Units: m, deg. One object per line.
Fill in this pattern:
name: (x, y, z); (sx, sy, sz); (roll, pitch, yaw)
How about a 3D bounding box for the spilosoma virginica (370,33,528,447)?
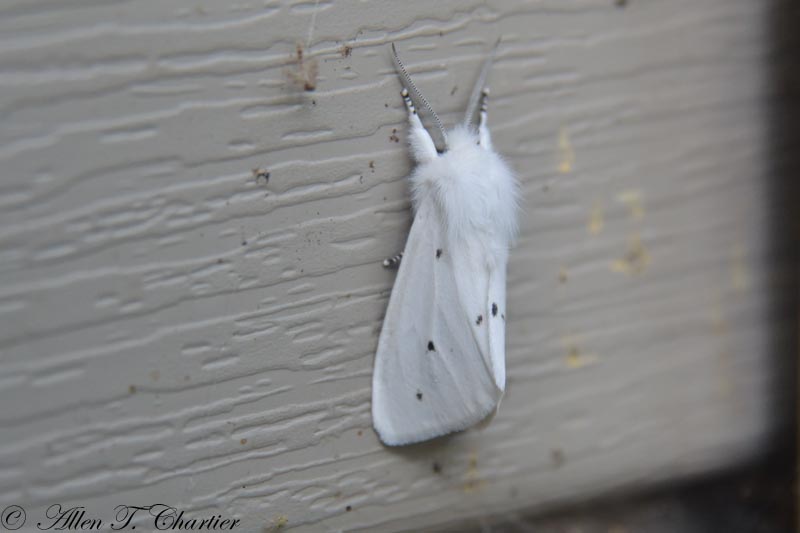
spilosoma virginica: (0.236, 0.001, 6.046); (0.639, 1.698, 0.506); (-1, 5, -15)
